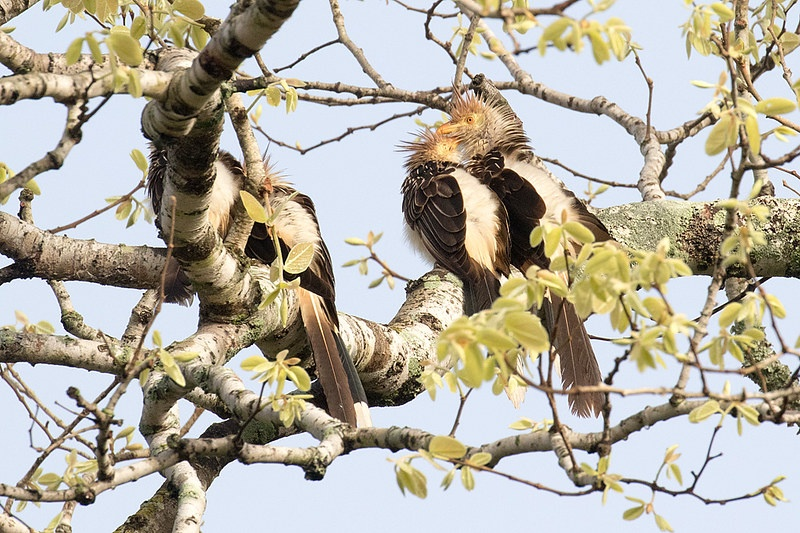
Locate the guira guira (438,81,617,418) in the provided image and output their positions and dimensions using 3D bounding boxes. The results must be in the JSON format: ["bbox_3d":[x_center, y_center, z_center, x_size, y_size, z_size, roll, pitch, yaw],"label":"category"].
[{"bbox_3d":[0.546,-0.037,5.356,0.553,1.593,0.979,-23,-40,-4],"label":"guira guira"}]
